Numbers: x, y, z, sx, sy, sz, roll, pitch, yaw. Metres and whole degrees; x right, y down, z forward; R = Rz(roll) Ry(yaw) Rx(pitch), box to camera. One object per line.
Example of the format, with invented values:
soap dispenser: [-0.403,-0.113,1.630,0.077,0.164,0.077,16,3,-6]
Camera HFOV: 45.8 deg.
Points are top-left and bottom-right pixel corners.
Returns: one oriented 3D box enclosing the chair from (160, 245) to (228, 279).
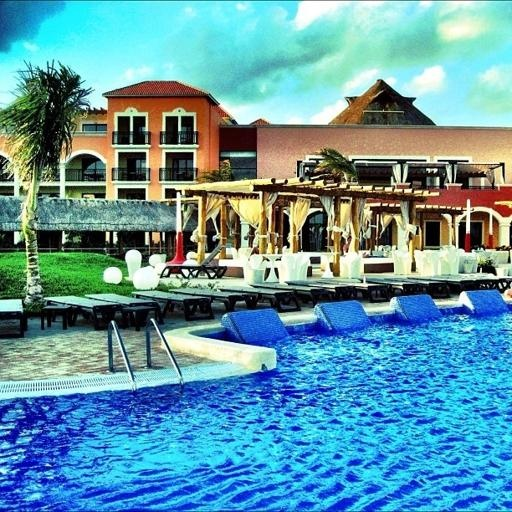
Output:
chair: [-1.877,0.172,18.568,1.746,0.856,1.039,2,-2,-10]
